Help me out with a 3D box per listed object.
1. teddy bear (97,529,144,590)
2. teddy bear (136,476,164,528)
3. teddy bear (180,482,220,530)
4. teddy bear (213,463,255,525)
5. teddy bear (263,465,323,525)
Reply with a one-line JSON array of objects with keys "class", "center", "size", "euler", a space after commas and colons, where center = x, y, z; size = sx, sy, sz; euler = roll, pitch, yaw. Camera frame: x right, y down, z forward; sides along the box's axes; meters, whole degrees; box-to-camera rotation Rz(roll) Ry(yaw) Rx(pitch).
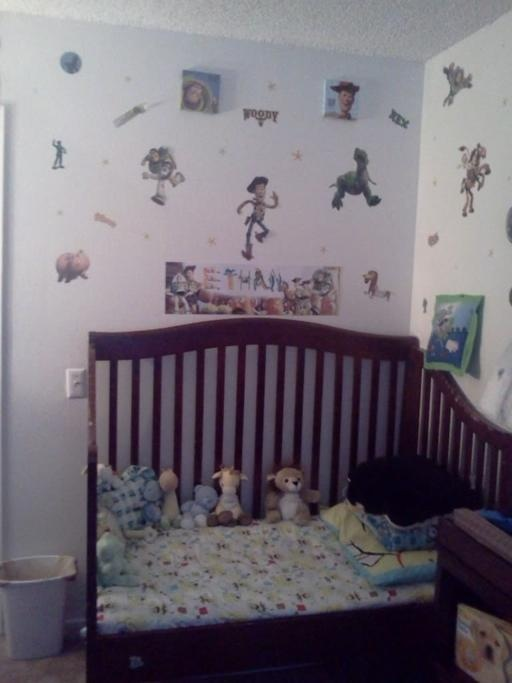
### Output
[{"class": "teddy bear", "center": [-0.366, 0.573, 1.586], "size": [0.057, 0.170, 0.103], "euler": [-11, 5, 22]}, {"class": "teddy bear", "center": [-0.334, 0.513, 1.942], "size": [0.062, 0.130, 0.091], "euler": [2, 0, 23]}, {"class": "teddy bear", "center": [-0.192, 0.542, 2.037], "size": [0.098, 0.064, 0.155], "euler": [13, 10, 15]}, {"class": "teddy bear", "center": [-0.089, 0.524, 2.068], "size": [0.123, 0.194, 0.215], "euler": [-1, 8, -4]}, {"class": "teddy bear", "center": [0.126, 0.524, 2.079], "size": [0.186, 0.200, 0.144], "euler": [2, -5, -7]}]
